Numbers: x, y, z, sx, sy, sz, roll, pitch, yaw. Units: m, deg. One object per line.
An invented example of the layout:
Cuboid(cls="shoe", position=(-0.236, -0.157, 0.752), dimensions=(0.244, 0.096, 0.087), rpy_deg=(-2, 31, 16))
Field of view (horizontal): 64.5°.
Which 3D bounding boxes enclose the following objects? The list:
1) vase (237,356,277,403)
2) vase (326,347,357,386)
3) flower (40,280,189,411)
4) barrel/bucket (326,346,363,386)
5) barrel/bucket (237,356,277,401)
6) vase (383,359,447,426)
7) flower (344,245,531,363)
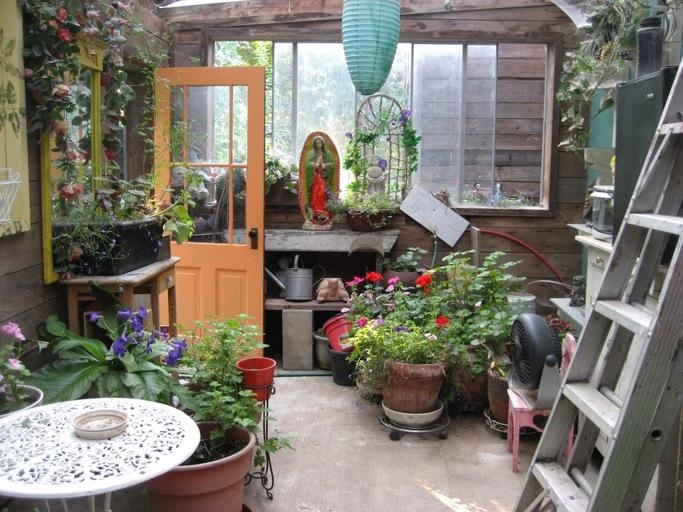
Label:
Cuboid(cls="vase", position=(-0.410, 0.619, 2.732), dimensions=(0.208, 0.170, 0.215), rpy_deg=(0, 0, 4))
Cuboid(cls="vase", position=(0.006, 0.836, 4.123), dimensions=(0.265, 0.201, 0.264), rpy_deg=(1, -1, 2))
Cuboid(cls="flower", position=(-1.054, 0.412, 2.582), dimensions=(0.665, 0.280, 0.620), rpy_deg=(4, 23, -7))
Cuboid(cls="barrel/bucket", position=(0.084, 0.863, 4.242), dimensions=(0.350, 0.270, 0.343), rpy_deg=(0, -4, 0))
Cuboid(cls="barrel/bucket", position=(-0.414, 0.614, 2.727), dimensions=(0.204, 0.161, 0.211), rpy_deg=(0, 0, 0))
Cuboid(cls="vase", position=(0.464, 0.862, 3.379), dimensions=(0.419, 0.308, 0.417), rpy_deg=(0, -6, 0))
Cuboid(cls="flower", position=(0.604, 0.381, 3.808), dimensions=(1.232, 0.699, 0.839), rpy_deg=(-1, 1, 24))
